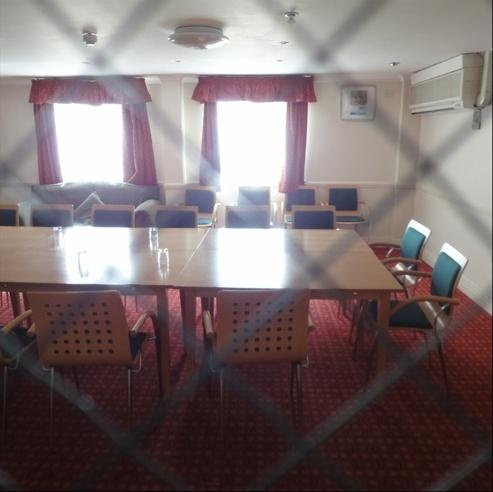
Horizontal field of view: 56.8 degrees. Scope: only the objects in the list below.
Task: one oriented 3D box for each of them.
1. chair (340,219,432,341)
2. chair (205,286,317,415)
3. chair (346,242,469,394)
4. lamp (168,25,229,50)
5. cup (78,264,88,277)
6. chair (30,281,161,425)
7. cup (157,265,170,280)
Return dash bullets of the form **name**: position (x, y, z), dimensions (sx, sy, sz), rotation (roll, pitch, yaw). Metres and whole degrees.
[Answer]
- **chair**: position (1.124, 0.258, 3.739), dimensions (0.600, 0.892, 0.620), rotation (4, 14, 16)
- **chair**: position (0.070, 0.519, 2.757), dimensions (0.624, 1.070, 0.642), rotation (-3, 29, -5)
- **chair**: position (1.000, 0.426, 3.283), dimensions (0.759, 1.313, 0.789), rotation (1, 12, 6)
- **lamp**: position (-0.382, -1.660, 3.622), dimensions (0.459, 0.123, 0.367), rotation (-3, 16, -10)
- **cup**: position (-1.030, 0.158, 2.862), dimensions (0.045, 0.057, 0.091), rotation (-2, 12, -14)
- **chair**: position (-0.790, 0.490, 2.682), dimensions (0.593, 1.014, 0.640), rotation (0, 21, -3)
- **cup**: position (-0.515, 0.162, 2.826), dimensions (0.057, 0.071, 0.115), rotation (8, 6, -9)
